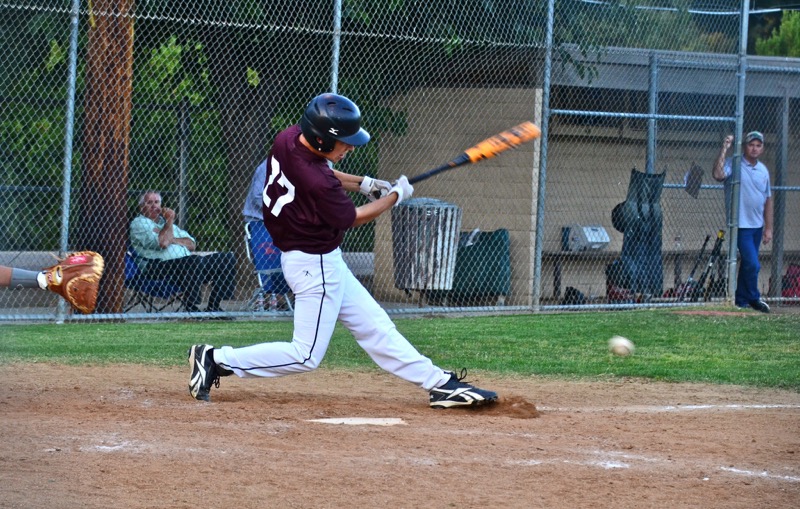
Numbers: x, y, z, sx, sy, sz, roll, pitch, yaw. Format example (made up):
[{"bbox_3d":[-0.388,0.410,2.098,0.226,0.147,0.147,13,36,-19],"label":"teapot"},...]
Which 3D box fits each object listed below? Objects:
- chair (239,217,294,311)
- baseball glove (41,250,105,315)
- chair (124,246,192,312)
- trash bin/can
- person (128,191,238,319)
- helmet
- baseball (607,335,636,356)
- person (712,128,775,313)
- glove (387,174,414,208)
[{"bbox_3d":[-1.764,0.156,14.895,0.798,1.475,0.637,6,1,-27],"label":"chair"},{"bbox_3d":[-3.342,0.268,11.304,0.563,0.604,0.192,3,-4,-11],"label":"baseball glove"},{"bbox_3d":[-3.413,0.366,15.378,0.812,0.884,1.202,3,-4,-13],"label":"chair"},{"bbox_3d":[0.415,-0.139,16.591,0.955,1.359,1.160,3,1,-9],"label":"trash bin/can"},{"bbox_3d":[-3.061,0.039,15.508,1.476,1.829,1.157,0,-1,-14],"label":"person"},{"bbox_3d":[-0.629,-1.244,10.636,0.617,0.428,0.461,26,27,-19],"label":"helmet"},{"bbox_3d":[2.441,0.973,12.299,0.229,0.144,0.224,21,-2,-34],"label":"baseball"},{"bbox_3d":[4.951,-0.497,15.674,0.986,2.607,0.624,5,-4,-34],"label":"person"},{"bbox_3d":[0.012,-0.631,10.994,0.113,0.271,0.224,16,26,-45],"label":"glove"}]
